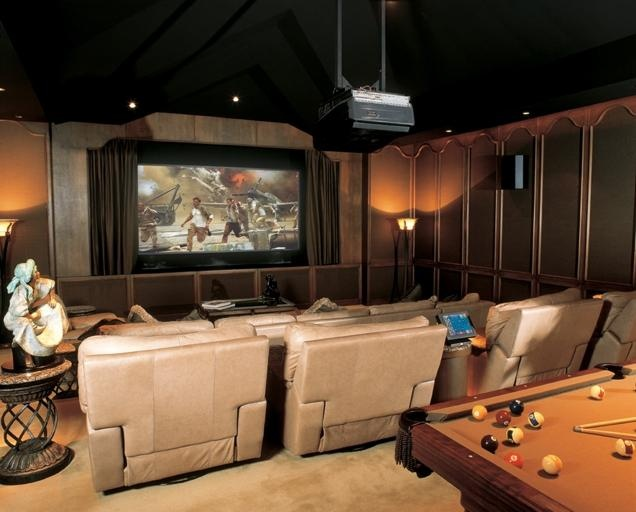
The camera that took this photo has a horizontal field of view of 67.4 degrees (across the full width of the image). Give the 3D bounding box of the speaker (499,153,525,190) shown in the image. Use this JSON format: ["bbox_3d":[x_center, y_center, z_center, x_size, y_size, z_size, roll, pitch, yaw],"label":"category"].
[{"bbox_3d":[2.471,-1.037,5.973,0.348,0.429,0.206,10,14,36],"label":"speaker"}]

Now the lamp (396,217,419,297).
[{"bbox_3d":[1.470,-0.003,7.913,0.336,1.287,0.540,4,12,11],"label":"lamp"}]

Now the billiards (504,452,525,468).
[{"bbox_3d":[0.740,0.763,1.780,0.067,0.044,0.066,7,12,25],"label":"billiards"}]

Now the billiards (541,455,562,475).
[{"bbox_3d":[0.855,0.758,1.749,0.070,0.067,0.064,4,-28,-26],"label":"billiards"}]

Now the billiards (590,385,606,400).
[{"bbox_3d":[1.317,0.639,2.228,0.061,0.062,0.061,28,-10,33],"label":"billiards"}]

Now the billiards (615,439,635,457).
[{"bbox_3d":[1.178,0.729,1.809,0.051,0.052,0.068,-4,1,22],"label":"billiards"}]

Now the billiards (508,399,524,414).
[{"bbox_3d":[0.875,0.660,2.089,0.057,0.046,0.056,-20,18,-39],"label":"billiards"}]

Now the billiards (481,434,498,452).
[{"bbox_3d":[0.674,0.731,1.862,0.059,0.061,0.058,1,8,17],"label":"billiards"}]

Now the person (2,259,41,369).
[{"bbox_3d":[-1.902,0.380,3.043,0.196,0.706,0.168,-3,13,-23],"label":"person"}]

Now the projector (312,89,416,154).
[{"bbox_3d":[0.433,-0.976,3.789,0.587,0.306,0.639,-2,1,-22],"label":"projector"}]

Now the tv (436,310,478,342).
[{"bbox_3d":[1.067,0.529,3.599,0.258,0.226,0.067,2,-34,-21],"label":"tv"}]

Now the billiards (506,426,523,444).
[{"bbox_3d":[0.803,0.712,1.931,0.064,0.061,0.066,-7,-2,-41],"label":"billiards"}]
